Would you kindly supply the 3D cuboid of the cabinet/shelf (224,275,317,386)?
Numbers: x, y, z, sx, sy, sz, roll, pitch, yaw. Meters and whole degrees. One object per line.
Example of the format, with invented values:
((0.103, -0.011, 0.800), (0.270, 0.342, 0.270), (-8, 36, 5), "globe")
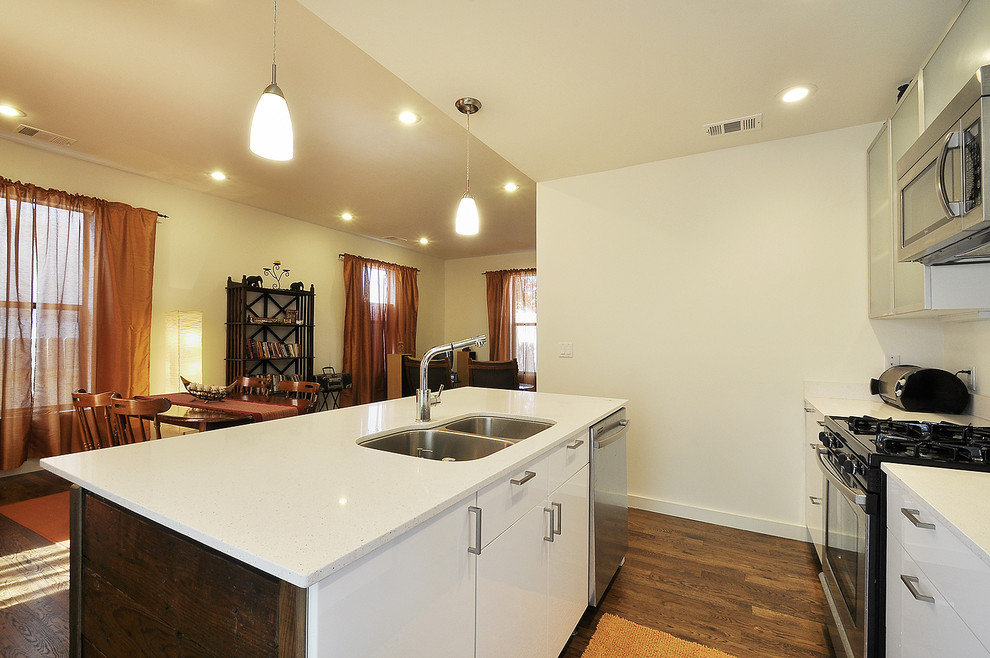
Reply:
((-2.540, 0.033, 7.558), (0.471, 1.325, 1.154), (5, 13, 21), "cabinet/shelf")

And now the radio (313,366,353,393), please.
((-1.998, 0.631, 8.009), (0.291, 0.299, 0.420), (-1, -4, 22), "radio")

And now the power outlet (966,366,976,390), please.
((3.019, 0.313, 4.197), (0.019, 0.192, 0.141), (0, -3, 20), "power outlet")
